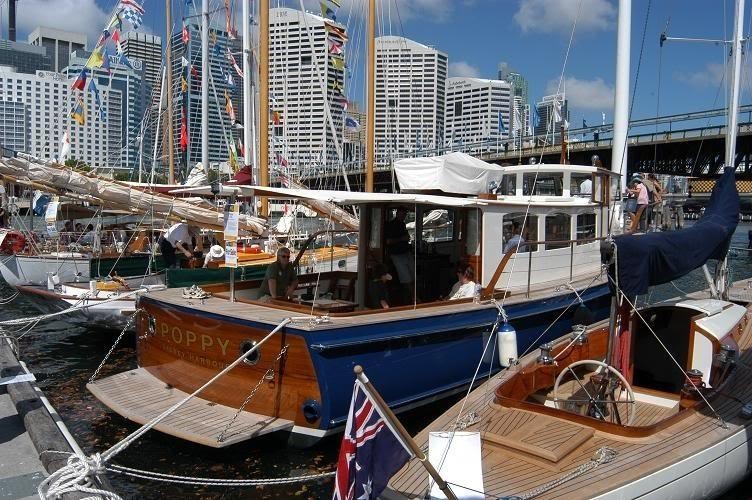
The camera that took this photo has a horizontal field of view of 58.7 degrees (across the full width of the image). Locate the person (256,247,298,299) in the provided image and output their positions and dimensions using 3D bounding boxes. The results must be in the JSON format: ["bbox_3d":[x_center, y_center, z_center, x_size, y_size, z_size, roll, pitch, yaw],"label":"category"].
[{"bbox_3d":[-1.693,0.506,11.947,0.623,1.045,0.764,7,-1,-42],"label":"person"}]

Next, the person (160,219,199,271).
[{"bbox_3d":[-4.770,-0.081,16.250,0.581,1.104,0.506,16,35,-23],"label":"person"}]

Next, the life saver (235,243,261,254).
[{"bbox_3d":[-3.316,-0.009,17.838,0.354,0.205,0.481,4,3,25],"label":"life saver"}]

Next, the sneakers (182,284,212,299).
[{"bbox_3d":[-3.084,0.716,11.446,0.478,0.240,0.216,2,3,2],"label":"sneakers"}]

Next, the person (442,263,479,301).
[{"bbox_3d":[1.592,0.660,12.103,0.483,0.778,0.887,2,7,-12],"label":"person"}]
